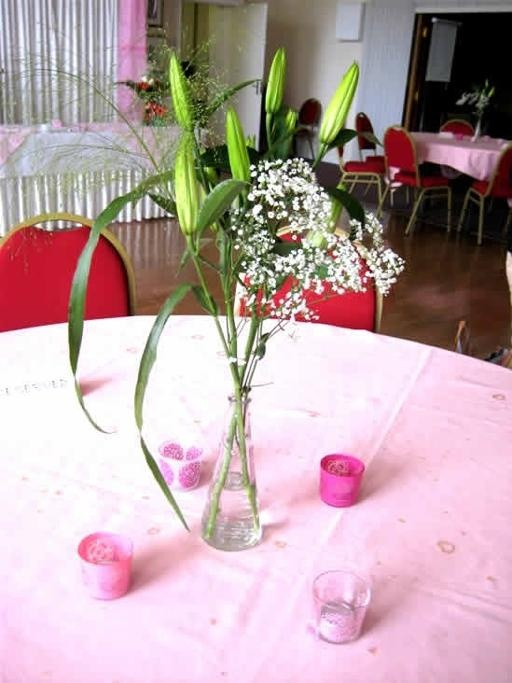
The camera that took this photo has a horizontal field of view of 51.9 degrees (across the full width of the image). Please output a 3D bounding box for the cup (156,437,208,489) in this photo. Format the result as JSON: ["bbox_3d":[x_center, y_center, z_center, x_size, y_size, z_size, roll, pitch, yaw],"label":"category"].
[{"bbox_3d":[-0.118,0.185,0.813,0.062,0.053,0.063,1,9,0],"label":"cup"}]

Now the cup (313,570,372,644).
[{"bbox_3d":[0.090,0.280,0.559,0.051,0.048,0.062,2,7,13],"label":"cup"}]

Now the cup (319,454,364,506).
[{"bbox_3d":[0.129,0.208,0.788,0.057,0.059,0.068,1,20,1],"label":"cup"}]

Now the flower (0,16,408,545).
[{"bbox_3d":[-0.044,-0.097,0.838,0.405,0.667,0.716,-1,25,-12],"label":"flower"}]

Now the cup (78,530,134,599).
[{"bbox_3d":[-0.161,0.238,0.603,0.061,0.059,0.056,2,26,-1],"label":"cup"}]
